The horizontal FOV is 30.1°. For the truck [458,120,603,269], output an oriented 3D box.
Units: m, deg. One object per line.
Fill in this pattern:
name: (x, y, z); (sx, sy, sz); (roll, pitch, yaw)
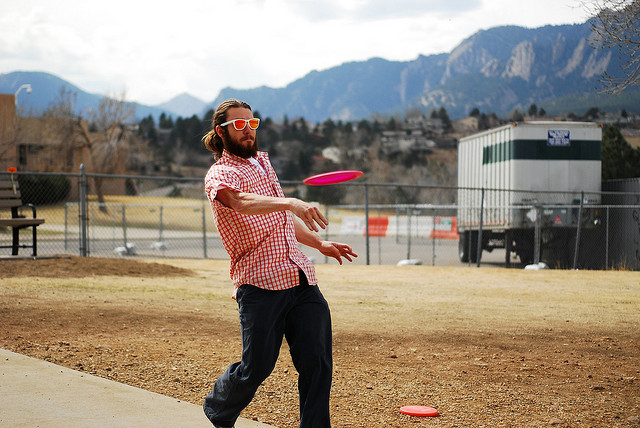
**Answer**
truck: (6.459, -0.949, 39.135); (3.200, 4.698, 5.653); (-1, 3, -18)
